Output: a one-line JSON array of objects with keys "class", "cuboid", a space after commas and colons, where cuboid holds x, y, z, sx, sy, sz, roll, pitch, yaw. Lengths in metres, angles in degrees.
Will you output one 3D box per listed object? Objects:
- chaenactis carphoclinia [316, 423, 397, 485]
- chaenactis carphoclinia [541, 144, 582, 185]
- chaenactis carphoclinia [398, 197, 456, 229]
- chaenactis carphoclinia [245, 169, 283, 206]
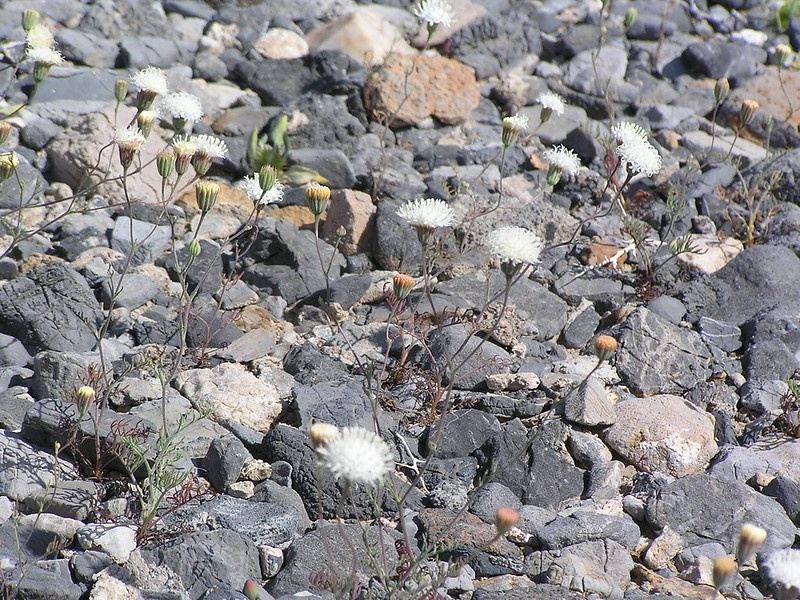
[{"class": "chaenactis carphoclinia", "cuboid": [-0.304, 1.042, 8.514, 0.386, 0.209, 0.407, 8, 43, -20]}, {"class": "chaenactis carphoclinia", "cuboid": [1.320, -1.142, 10.520, 0.287, 0.261, 0.282, -47, 62, 18]}, {"class": "chaenactis carphoclinia", "cuboid": [0.156, -0.634, 9.316, 0.279, 0.186, 0.288, -12, 25, -37]}, {"class": "chaenactis carphoclinia", "cuboid": [-1.023, -0.915, 9.896, 0.219, 0.275, 0.279, 1, 44, 12]}]
